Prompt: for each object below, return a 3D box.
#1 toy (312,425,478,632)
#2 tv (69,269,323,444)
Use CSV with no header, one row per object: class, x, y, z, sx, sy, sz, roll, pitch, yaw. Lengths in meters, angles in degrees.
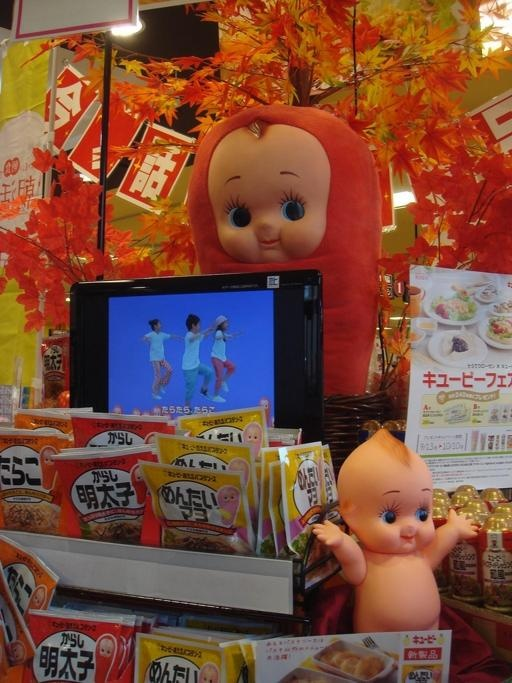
toy,0.189,0.242,0.708,0.148,0.238,0.233,1,4,32
tv,-0.118,0.041,1.107,0.541,0.324,0.056,-1,1,-30
